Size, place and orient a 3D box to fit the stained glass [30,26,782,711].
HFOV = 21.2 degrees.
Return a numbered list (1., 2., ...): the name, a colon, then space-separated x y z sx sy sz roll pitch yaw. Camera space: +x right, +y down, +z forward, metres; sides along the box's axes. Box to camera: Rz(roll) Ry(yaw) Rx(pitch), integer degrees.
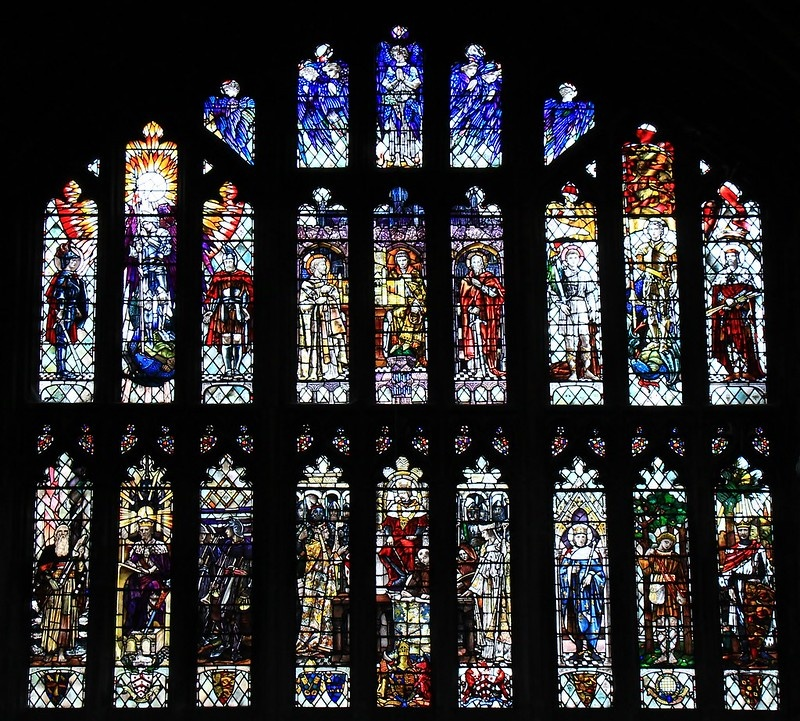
1. stained glass: 0.133 0.231 17.889 6.087 0.421 5.404 1 79 -2
